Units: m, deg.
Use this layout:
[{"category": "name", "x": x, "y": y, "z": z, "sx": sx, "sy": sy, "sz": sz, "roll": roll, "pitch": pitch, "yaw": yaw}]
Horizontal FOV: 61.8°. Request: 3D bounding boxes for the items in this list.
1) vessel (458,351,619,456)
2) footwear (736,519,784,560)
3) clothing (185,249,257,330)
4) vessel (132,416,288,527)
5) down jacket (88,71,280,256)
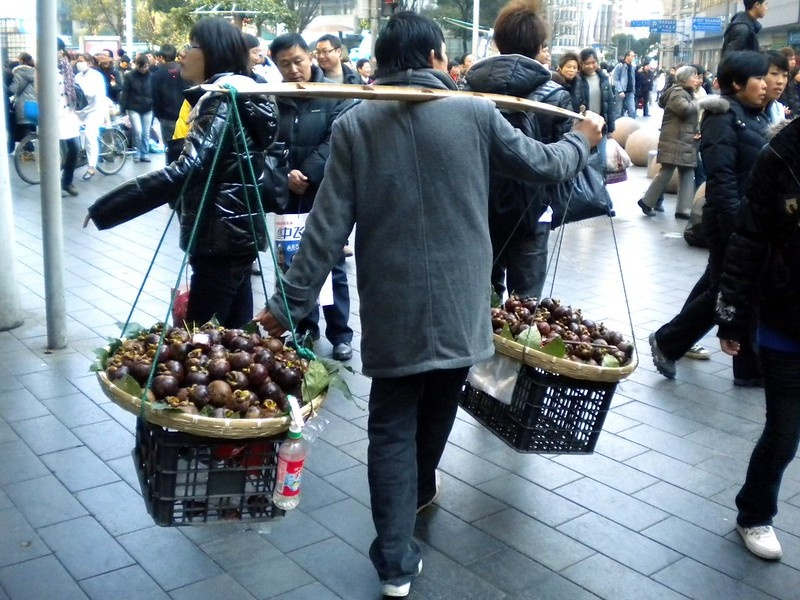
[{"category": "vessel", "x": 0.869, "y": 0.661, "z": 3.542, "sx": 0.502, "sy": 0.337, "sz": 0.766, "roll": 13, "pitch": -18, "yaw": 19}, {"category": "footwear", "x": 1.812, "y": 1.197, "z": 3.369, "sx": 0.099, "sy": 0.094, "sz": 0.251, "roll": -4, "pitch": 12, "yaw": -13}, {"category": "clothing", "x": -1.023, "y": -0.060, "z": 3.794, "sx": 0.203, "sy": 0.628, "sz": 0.182, "roll": 9, "pitch": 30, "yaw": 9}, {"category": "vessel", "x": -0.716, "y": 0.623, "z": 2.539, "sx": 0.499, "sy": 0.268, "sz": 0.471, "roll": 6, "pitch": 4, "yaw": -24}, {"category": "down jacket", "x": -1.067, "y": -0.711, "z": 3.623, "sx": 0.795, "sy": 0.991, "sz": 1.108, "roll": 7, "pitch": 20, "yaw": 10}]
